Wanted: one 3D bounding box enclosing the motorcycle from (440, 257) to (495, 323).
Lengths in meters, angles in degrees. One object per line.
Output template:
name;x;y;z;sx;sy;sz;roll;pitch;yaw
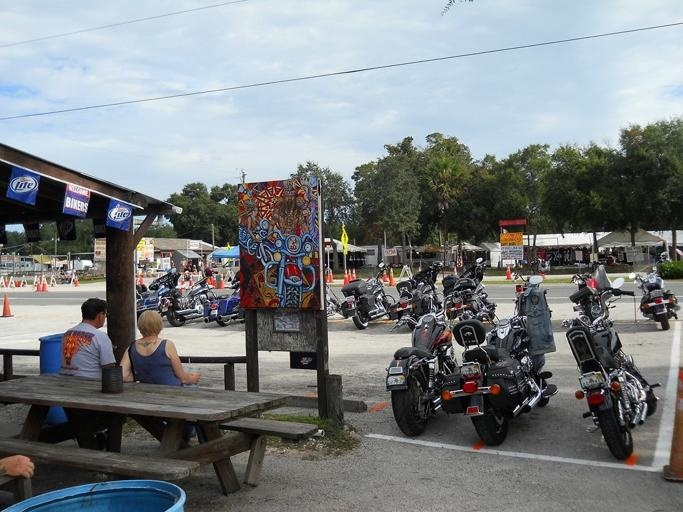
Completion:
motorcycle;2.880;0.782;15.130;1.941;1.288;0.958;-3;-1;27

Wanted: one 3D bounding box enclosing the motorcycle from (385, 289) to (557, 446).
motorcycle;1.836;1.479;7.463;0.933;1.343;1.408;-1;3;35

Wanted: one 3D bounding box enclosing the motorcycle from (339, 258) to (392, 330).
motorcycle;0.777;1.046;17.420;1.104;1.562;2.736;-12;-1;25

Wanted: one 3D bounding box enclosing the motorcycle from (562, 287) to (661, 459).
motorcycle;3.244;1.295;7.625;1.071;1.712;2.782;-21;-8;26

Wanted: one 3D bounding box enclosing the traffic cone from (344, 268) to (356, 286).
traffic cone;0.459;1.132;36.285;0.710;0.970;0.738;1;-11;-1

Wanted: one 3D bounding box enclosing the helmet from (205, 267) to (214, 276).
helmet;-4.431;0.508;20.740;0.241;0.303;0.321;1;0;-1

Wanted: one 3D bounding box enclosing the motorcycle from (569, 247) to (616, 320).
motorcycle;3.861;0.582;9.505;0.604;0.659;1.075;17;9;23

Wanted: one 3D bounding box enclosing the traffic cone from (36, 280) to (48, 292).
traffic cone;-19.355;1.866;40.183;0.663;0.583;0.354;-4;-7;43

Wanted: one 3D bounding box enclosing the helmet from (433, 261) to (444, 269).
helmet;2.523;0.265;16.426;0.262;0.207;0.222;-11;15;-13
